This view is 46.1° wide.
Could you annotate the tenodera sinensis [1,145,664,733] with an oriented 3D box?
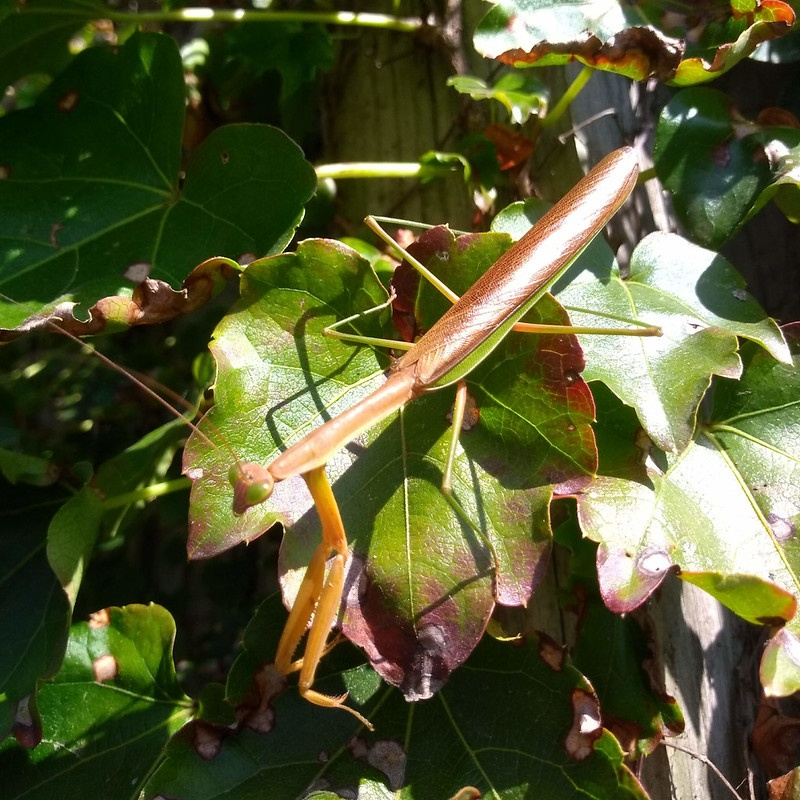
[{"bbox_3d":[0.023,-0.067,0.946,0.587,0.273,0.367,-46,57,-2],"label":"tenodera sinensis"}]
